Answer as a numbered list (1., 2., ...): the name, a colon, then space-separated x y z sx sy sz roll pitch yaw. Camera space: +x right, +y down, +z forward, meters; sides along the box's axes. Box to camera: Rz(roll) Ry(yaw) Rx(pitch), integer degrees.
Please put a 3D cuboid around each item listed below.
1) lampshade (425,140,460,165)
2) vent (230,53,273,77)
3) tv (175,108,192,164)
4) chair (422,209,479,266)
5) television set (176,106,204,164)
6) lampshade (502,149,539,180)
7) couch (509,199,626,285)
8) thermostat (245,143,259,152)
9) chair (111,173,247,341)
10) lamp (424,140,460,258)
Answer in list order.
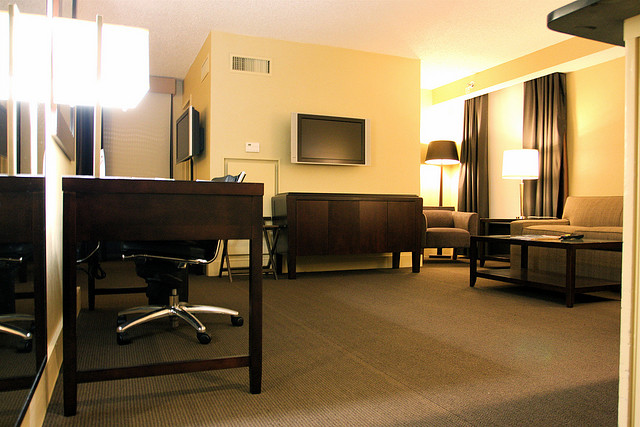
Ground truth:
1. lampshade: 1.886 -0.938 7.457 0.522 0.377 0.505 2 10 12
2. vent: -0.799 -1.726 5.637 0.507 0.241 0.060 -3 11 -20
3. tv: -1.732 -0.969 6.141 0.111 0.722 1.016 1 -2 -24
4. chair: 1.603 0.286 6.572 0.848 0.690 0.798 0 -1 -9
5. television set: -1.599 -0.957 6.072 0.273 0.543 0.898 -2 2 -26
6. lampshade: 2.503 -0.618 6.214 0.403 0.420 0.386 0 2 0
7. couch: 2.725 0.249 4.837 0.727 0.872 1.331 3 0 -25
8. thermostat: -0.802 -0.779 5.649 0.116 0.078 0.016 0 3 -15
9. chair: -1.003 0.261 3.307 0.920 1.043 0.931 0 0 8
10. lamp: 1.932 -0.540 7.633 0.442 1.242 0.430 15 30 43
